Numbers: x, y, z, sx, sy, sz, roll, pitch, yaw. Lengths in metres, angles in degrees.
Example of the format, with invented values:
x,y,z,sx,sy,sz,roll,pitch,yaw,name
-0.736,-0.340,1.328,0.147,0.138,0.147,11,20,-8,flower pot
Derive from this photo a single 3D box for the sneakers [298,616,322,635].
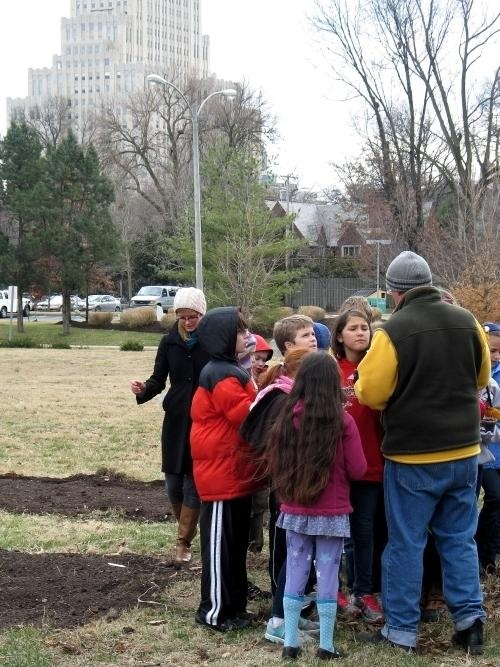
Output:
x,y,z,sx,sy,sz,roll,pitch,yaw,name
0.297,1.476,4.714,0.045,0.054,0.129,4,3,-23,sneakers

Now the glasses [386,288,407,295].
x,y,z,sx,sy,sz,roll,pitch,yaw,name
0.760,-0.215,4.865,0.085,0.037,0.102,1,-2,20,glasses

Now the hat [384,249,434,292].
x,y,z,sx,sy,sz,roll,pitch,yaw,name
0.816,-0.326,4.838,0.180,0.158,0.241,-2,1,-5,hat

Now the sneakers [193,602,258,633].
x,y,z,sx,sy,sz,roll,pitch,yaw,name
-0.129,1.454,4.804,0.319,0.134,0.112,-1,2,-11,sneakers

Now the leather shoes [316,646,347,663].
x,y,z,sx,sy,sz,roll,pitch,yaw,name
0.365,1.494,4.340,0.112,0.047,0.053,-3,2,-23,leather shoes

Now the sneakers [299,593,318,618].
x,y,z,sx,sy,sz,roll,pitch,yaw,name
0.315,1.436,4.987,0.063,0.082,0.178,3,19,12,sneakers

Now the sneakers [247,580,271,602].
x,y,z,sx,sy,sz,roll,pitch,yaw,name
0.029,1.467,5.348,0.062,0.080,0.194,-2,9,-34,sneakers

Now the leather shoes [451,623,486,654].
x,y,z,sx,sy,sz,roll,pitch,yaw,name
1.042,1.455,4.466,0.075,0.155,0.222,1,1,4,leather shoes

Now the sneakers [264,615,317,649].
x,y,z,sx,sy,sz,roll,pitch,yaw,name
0.198,1.480,4.637,0.106,0.131,0.310,-1,0,44,sneakers

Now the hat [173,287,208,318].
x,y,z,sx,sy,sz,roll,pitch,yaw,name
-0.388,-0.198,5.992,0.201,0.188,0.214,0,-10,1,hat

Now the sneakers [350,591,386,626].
x,y,z,sx,sy,sz,roll,pitch,yaw,name
0.622,1.456,4.954,0.077,0.083,0.190,6,1,-35,sneakers

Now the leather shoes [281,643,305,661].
x,y,z,sx,sy,sz,roll,pitch,yaw,name
0.202,1.495,4.401,0.127,0.038,0.094,0,-1,-25,leather shoes
